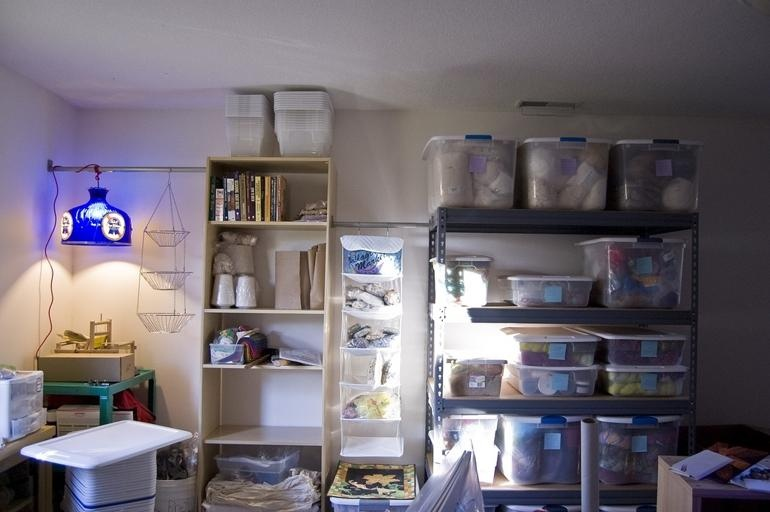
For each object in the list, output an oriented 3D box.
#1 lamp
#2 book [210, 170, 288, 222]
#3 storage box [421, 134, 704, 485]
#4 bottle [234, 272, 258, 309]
[{"bbox_3d":[-2.169,-0.379,5.279,0.598,0.621,0.586,1,-3,22],"label":"lamp"},{"bbox_3d":[-1.041,-0.441,5.074,0.546,0.360,0.098,0,1,-2],"label":"book"},{"bbox_3d":[1.318,0.379,5.037,1.985,2.405,0.648,0,1,1],"label":"storage box"},{"bbox_3d":[-1.073,0.265,5.169,0.186,0.246,0.176,-2,2,0],"label":"bottle"}]
